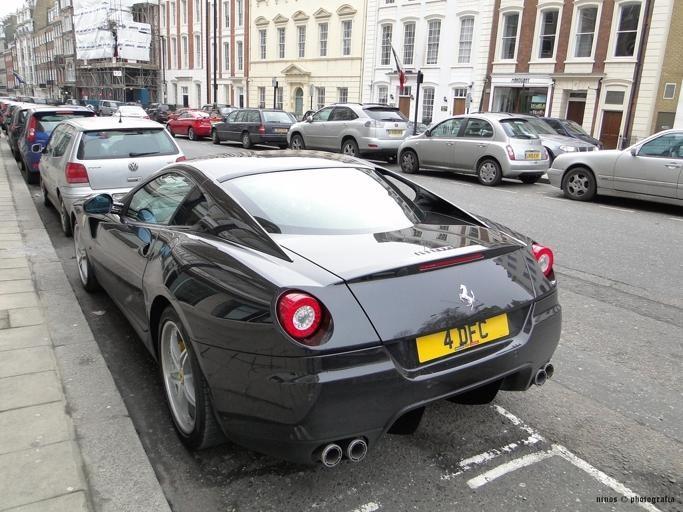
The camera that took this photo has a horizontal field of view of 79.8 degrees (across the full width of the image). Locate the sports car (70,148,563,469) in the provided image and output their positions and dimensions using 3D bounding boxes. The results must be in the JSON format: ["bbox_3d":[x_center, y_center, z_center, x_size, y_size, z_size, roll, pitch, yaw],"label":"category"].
[{"bbox_3d":[-0.817,-0.110,4.257,2.896,1.464,5.165,-9,18,-42],"label":"sports car"}]

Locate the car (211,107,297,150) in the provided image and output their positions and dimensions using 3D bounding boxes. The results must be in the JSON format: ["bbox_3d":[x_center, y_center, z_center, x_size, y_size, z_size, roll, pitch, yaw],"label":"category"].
[{"bbox_3d":[-5.386,-7.766,24.258,2.467,1.728,5.435,-12,24,-34],"label":"car"}]

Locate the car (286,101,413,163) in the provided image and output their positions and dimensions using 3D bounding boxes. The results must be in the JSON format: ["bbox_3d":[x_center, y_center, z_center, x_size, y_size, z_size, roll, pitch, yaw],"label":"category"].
[{"bbox_3d":[0.108,-5.345,18.834,3.139,2.418,6.196,-11,22,-40],"label":"car"}]
